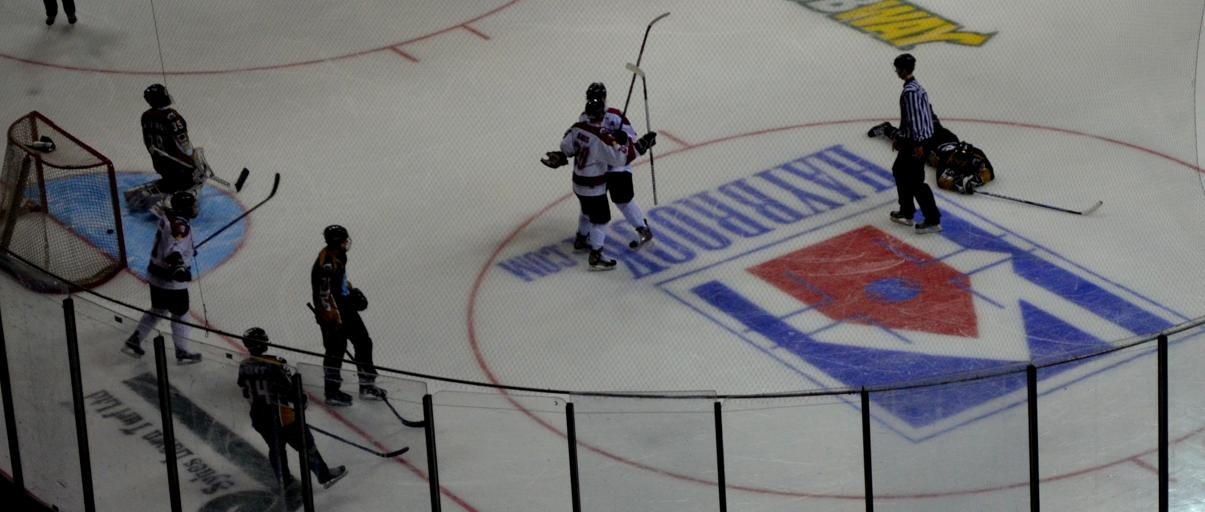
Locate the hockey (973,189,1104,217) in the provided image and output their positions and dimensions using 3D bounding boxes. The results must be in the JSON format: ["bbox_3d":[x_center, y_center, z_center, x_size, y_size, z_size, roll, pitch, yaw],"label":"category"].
[{"bbox_3d":[7.493,-0.886,23.355,0.224,1.984,0.101,-66,-20,-47],"label":"hockey"}]

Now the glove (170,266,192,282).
[{"bbox_3d":[-6.507,0.289,21.217,0.357,0.160,0.239,-4,19,1],"label":"glove"}]

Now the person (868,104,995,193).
[{"bbox_3d":[5.909,-1.820,24.120,1.266,1.986,0.756,-33,-51,-9],"label":"person"}]

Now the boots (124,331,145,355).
[{"bbox_3d":[-6.477,1.252,18.969,0.167,0.322,0.269,-1,-36,-50],"label":"boots"}]
